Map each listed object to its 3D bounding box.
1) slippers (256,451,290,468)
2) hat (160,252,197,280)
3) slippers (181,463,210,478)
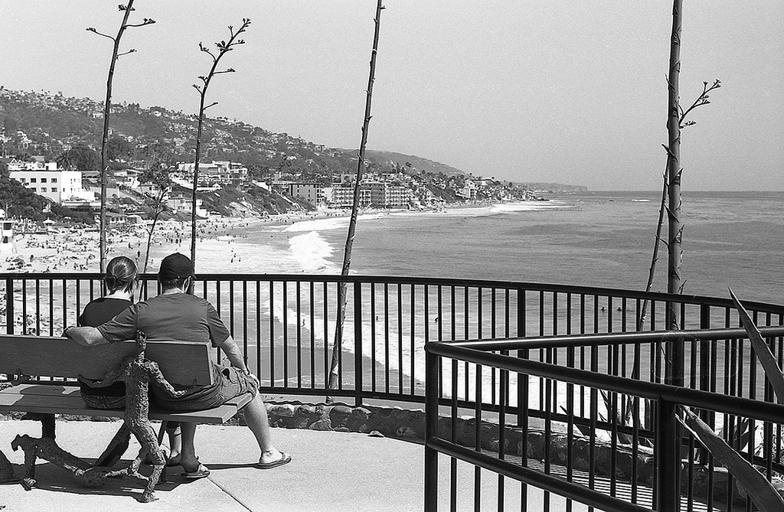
[{"bbox_3d":[-1.021,1.704,7.686,0.255,0.145,0.117,-7,16,-24],"label":"slippers"},{"bbox_3d":[-1.689,0.075,7.127,0.210,0.144,0.260,7,12,9],"label":"hat"},{"bbox_3d":[-1.602,1.737,7.322,0.181,0.071,0.106,0,3,-44],"label":"slippers"}]
